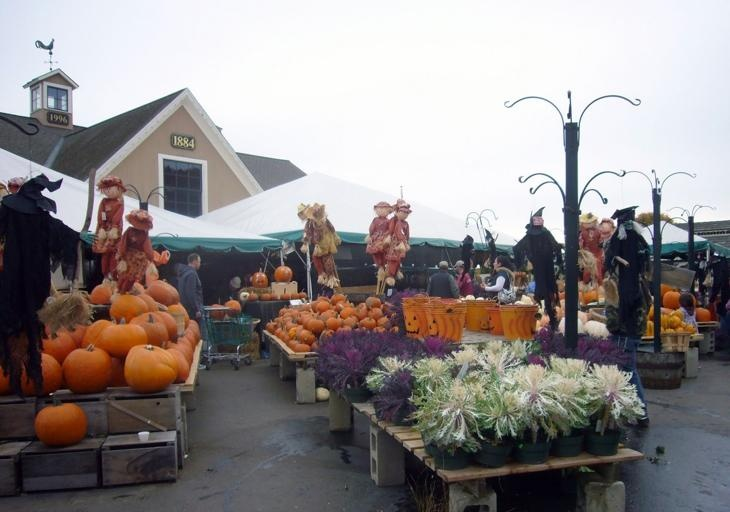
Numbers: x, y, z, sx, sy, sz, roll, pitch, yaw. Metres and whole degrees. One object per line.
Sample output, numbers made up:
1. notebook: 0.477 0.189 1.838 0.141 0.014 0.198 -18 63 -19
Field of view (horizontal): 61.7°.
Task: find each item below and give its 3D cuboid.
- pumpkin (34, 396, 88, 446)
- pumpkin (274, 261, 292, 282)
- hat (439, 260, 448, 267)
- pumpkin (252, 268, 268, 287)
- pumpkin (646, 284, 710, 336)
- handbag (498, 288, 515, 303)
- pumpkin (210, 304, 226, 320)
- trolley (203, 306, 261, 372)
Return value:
1. pumpkin: -3.368 1.834 6.872 0.441 0.513 0.458 -3 -4 14
2. pumpkin: -2.147 0.396 15.833 0.446 0.679 0.441 -4 1 -38
3. hat: 1.454 0.165 11.265 0.139 0.152 0.149 0 5 -5
4. pumpkin: -2.729 0.594 15.836 0.408 0.417 0.710 -1 3 -12
5. pumpkin: 6.382 1.113 12.475 1.294 0.601 1.376 0 0 -11
6. handbag: 2.401 0.675 10.283 0.192 0.295 0.274 -3 -16 0
7. pumpkin: -3.241 1.223 13.454 0.272 0.320 0.297 4 -3 22
8. trolley: -2.856 1.809 13.482 0.549 1.042 1.174 4 -3 4
